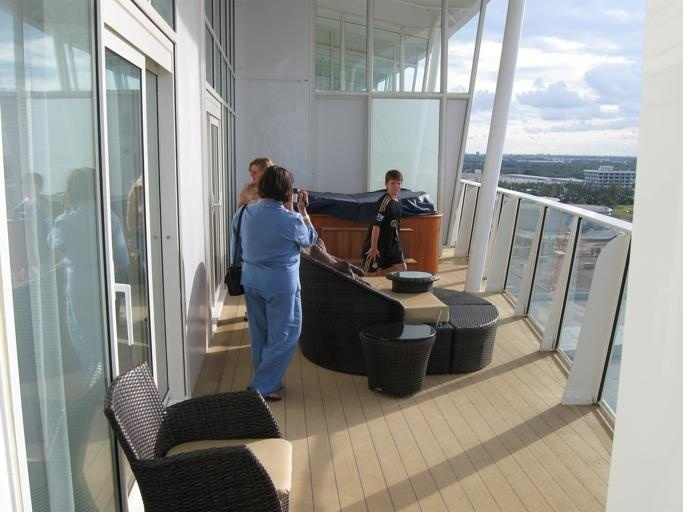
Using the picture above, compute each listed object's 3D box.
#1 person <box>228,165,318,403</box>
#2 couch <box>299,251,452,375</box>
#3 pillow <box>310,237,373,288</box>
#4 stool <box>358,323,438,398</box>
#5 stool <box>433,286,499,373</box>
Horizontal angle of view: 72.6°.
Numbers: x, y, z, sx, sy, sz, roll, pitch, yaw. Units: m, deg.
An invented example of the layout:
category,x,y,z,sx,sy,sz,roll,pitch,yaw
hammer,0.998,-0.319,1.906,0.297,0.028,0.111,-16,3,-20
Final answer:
category,x,y,z,sx,sy,sz,roll,pitch,yaw
person,-0.553,0.268,4.070,0.642,2.078,0.628,-3,12,-14
couch,0.292,0.516,4.932,1.352,1.107,1.101,0,4,-5
pillow,-0.042,0.061,5.116,0.826,0.347,0.340,26,13,-7
stool,0.576,0.980,4.392,0.602,0.496,0.586,-4,0,-39
stool,1.338,0.781,4.810,0.711,0.298,0.732,-10,15,-39
